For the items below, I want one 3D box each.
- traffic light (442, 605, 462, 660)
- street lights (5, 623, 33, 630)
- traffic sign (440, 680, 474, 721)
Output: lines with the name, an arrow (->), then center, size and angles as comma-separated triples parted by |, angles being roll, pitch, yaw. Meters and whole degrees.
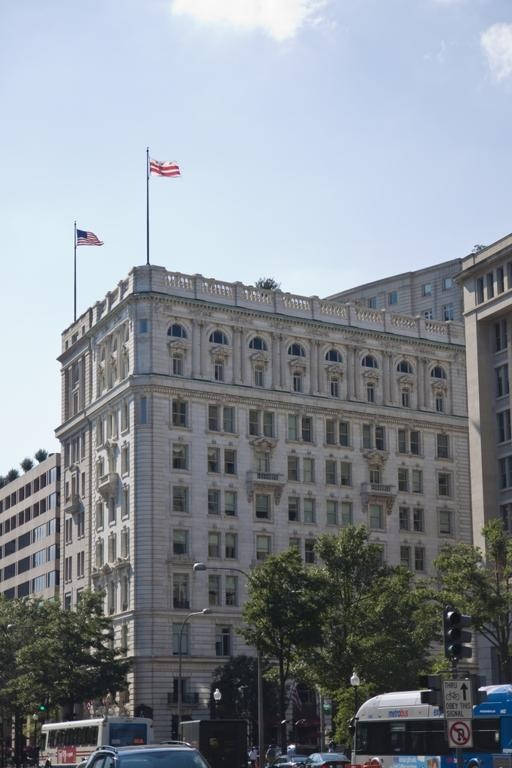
traffic light -> 5.468, 6.850, 51.021 | 0.537, 1.490, 0.804 | -4, -12, 5
street lights -> -14.347, 14.252, 109.344 | 0.864, 0.383, 0.896 | 0, -14, 21
traffic sign -> 5.521, 8.486, 50.063 | 0.829, 1.072, 0.477 | -3, -12, -2
